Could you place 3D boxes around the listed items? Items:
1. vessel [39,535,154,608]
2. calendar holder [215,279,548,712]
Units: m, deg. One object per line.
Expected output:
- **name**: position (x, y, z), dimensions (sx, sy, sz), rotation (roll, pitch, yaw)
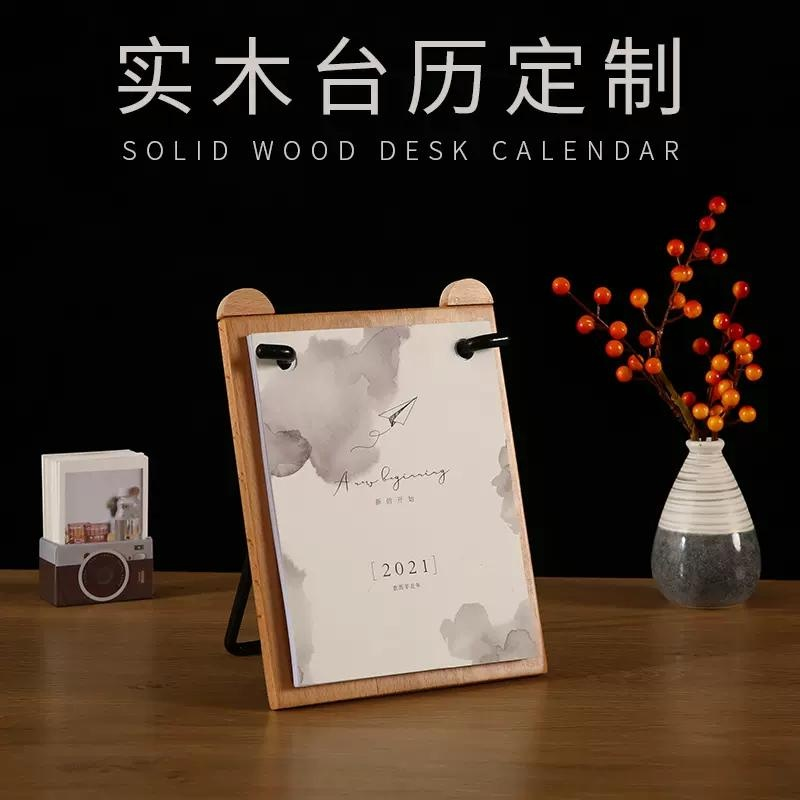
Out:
- **vessel**: position (-0.435, 0.230, 1.438), dimensions (0.146, 0.083, 0.100), rotation (2, -8, -32)
- **calendar holder**: position (-0.038, 0.093, 1.157), dimensions (0.373, 0.422, 0.256), rotation (-2, 10, -24)
